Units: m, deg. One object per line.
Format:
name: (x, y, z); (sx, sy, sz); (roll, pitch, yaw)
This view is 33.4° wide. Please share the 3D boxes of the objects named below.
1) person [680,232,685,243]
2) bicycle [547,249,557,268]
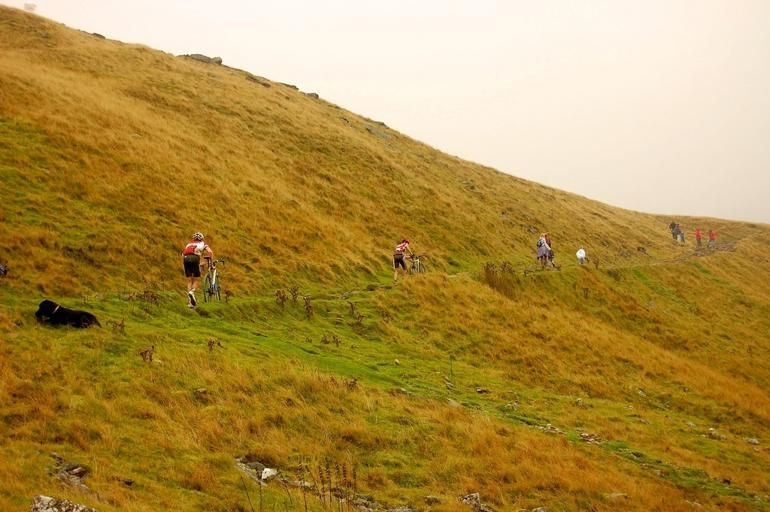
person: (30.741, -1.917, 132.728); (0.281, 0.993, 1.051); (6, 14, 5)
bicycle: (13.415, 0.215, 103.292); (0.479, 0.954, 1.650); (-5, 36, 17)
